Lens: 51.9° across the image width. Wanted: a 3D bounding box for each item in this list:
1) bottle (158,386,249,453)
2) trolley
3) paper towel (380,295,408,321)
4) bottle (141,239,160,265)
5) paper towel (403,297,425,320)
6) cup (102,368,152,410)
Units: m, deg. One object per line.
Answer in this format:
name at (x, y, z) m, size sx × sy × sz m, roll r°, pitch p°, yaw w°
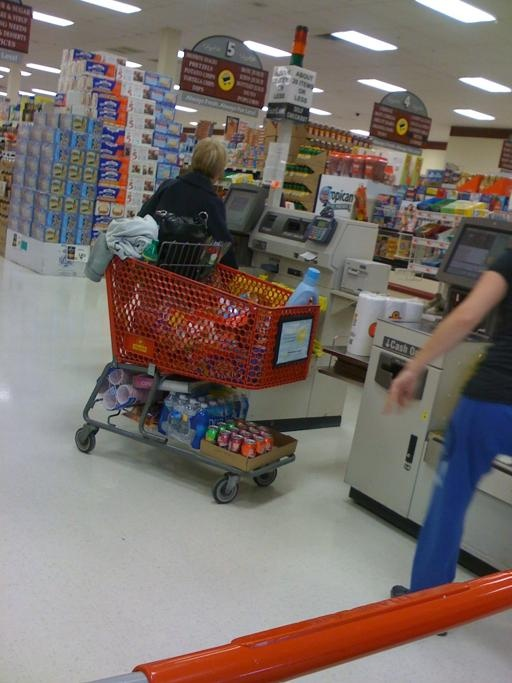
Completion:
bottle at (-0.237, 0.368, 2.786) m, size 0.394 × 0.383 × 0.266 m, roll 23°, pitch 6°, yaw 3°
trolley at (-0.297, 0.083, 2.843) m, size 1.223 × 1.213 × 0.700 m, roll 10°, pitch 7°, yaw 36°
paper towel at (0.724, -0.171, 2.783) m, size 0.141 × 0.137 × 0.138 m, roll 10°, pitch 17°, yaw 23°
bottle at (-0.530, -0.458, 2.694) m, size 0.082 × 0.108 × 0.109 m, roll 23°, pitch 20°, yaw -11°
paper towel at (0.836, -0.171, 2.809) m, size 0.128 × 0.112 × 0.099 m, roll 7°, pitch 1°, yaw 6°
cup at (-0.677, 0.245, 2.789) m, size 0.193 × 0.168 × 0.306 m, roll 13°, pitch 11°, yaw 20°
